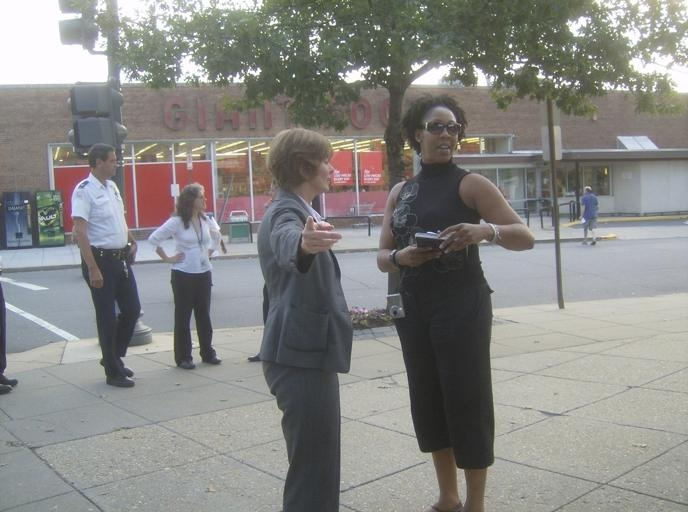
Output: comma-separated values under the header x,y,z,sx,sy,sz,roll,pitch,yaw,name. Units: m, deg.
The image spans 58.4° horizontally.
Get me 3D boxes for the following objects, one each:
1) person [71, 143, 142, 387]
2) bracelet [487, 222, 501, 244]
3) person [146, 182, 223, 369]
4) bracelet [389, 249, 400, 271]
x,y,z,sx,sy,sz,roll,pitch,yaw,name
-2.542,0.071,6.586,0.560,2.552,0.826,-5,7,-13,person
0.920,-0.139,3.757,0.043,0.103,0.112,-3,36,-10,bracelet
-1.853,0.196,7.382,0.740,2.118,1.029,-5,7,-12,person
0.316,0.017,4.003,0.041,0.102,0.081,0,-3,-1,bracelet
